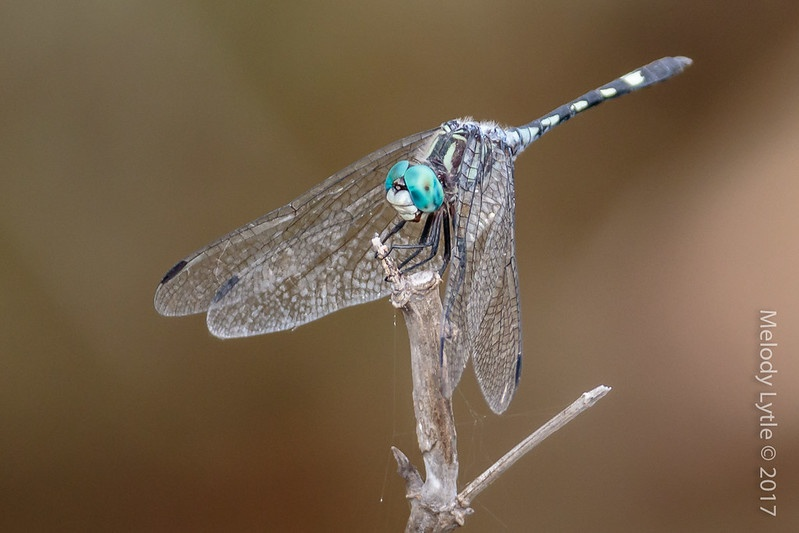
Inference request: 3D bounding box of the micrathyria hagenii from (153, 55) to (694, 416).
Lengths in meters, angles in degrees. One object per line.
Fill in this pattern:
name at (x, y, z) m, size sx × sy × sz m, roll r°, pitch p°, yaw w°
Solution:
micrathyria hagenii at (-0.106, -0.225, 5.028) m, size 2.985 × 1.481 × 2.137 m, roll 4°, pitch -44°, yaw -15°
